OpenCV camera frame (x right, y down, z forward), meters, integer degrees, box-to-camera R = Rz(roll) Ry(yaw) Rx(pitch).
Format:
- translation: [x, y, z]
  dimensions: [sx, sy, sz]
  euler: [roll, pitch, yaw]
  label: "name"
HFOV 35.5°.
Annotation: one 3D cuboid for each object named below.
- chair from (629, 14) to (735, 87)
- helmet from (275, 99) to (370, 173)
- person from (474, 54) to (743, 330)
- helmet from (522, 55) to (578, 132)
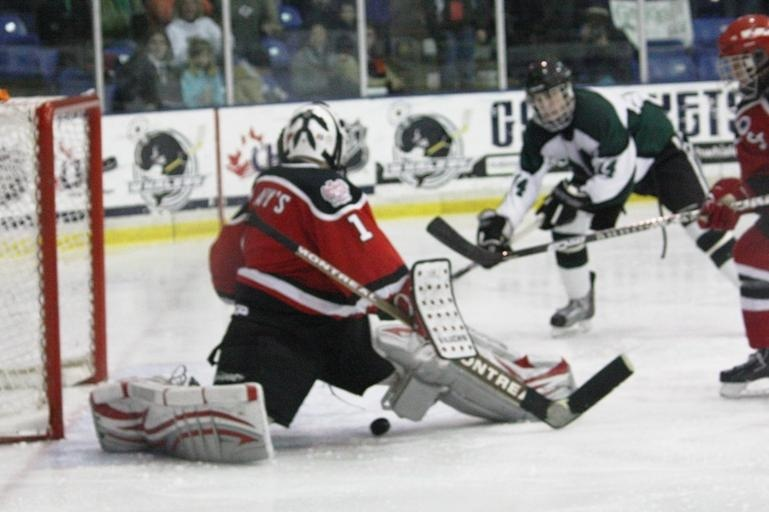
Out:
- translation: [2.170, -1.414, 8.710]
  dimensions: [0.949, 0.305, 0.629]
  euler: [-3, 1, 12]
  label: "chair"
- translation: [-0.345, -0.544, 5.736]
  dimensions: [0.394, 0.341, 0.438]
  euler: [4, 3, 19]
  label: "helmet"
- translation: [1.228, -0.348, 6.677]
  dimensions: [1.672, 1.352, 0.641]
  euler: [-8, -2, -16]
  label: "person"
- translation: [0.883, -0.862, 6.406]
  dimensions: [0.280, 0.330, 0.241]
  euler: [-14, 18, 17]
  label: "helmet"
